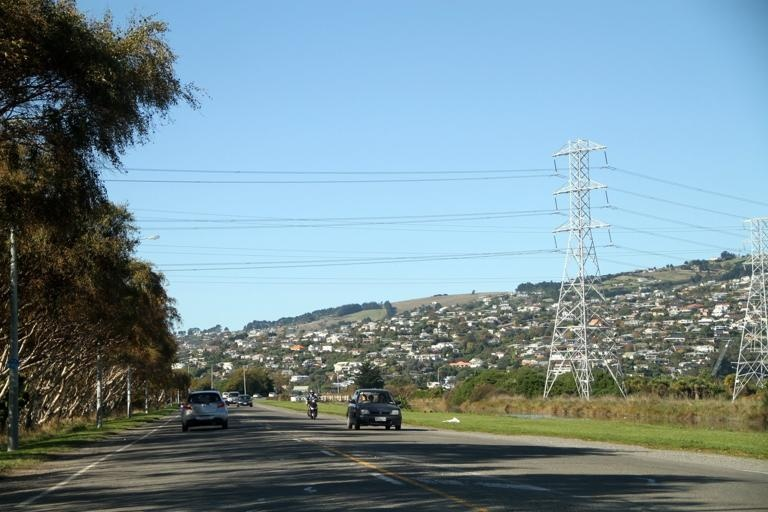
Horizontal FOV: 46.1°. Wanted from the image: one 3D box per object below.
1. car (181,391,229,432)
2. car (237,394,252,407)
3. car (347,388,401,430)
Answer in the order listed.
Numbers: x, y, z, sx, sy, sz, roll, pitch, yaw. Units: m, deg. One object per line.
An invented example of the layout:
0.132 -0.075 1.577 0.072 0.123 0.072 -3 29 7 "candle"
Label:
-10.031 8.551 50.623 2.397 2.043 1.163 6 -14 -20 "car"
-17.589 18.266 113.579 1.253 1.005 2.724 1 1 -12 "car"
-0.483 8.269 48.905 2.744 2.185 1.944 0 -13 4 "car"
